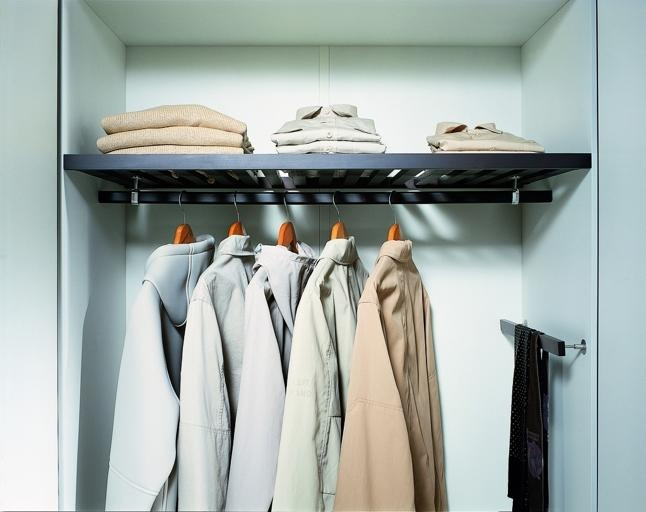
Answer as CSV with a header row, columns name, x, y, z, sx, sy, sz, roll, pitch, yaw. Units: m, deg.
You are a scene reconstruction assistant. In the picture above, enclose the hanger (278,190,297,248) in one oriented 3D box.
name,x,y,z,sx,sy,sz,roll,pitch,yaw
hanger,-0.113,-0.116,2.054,0.017,0.193,0.172,-3,-5,13
